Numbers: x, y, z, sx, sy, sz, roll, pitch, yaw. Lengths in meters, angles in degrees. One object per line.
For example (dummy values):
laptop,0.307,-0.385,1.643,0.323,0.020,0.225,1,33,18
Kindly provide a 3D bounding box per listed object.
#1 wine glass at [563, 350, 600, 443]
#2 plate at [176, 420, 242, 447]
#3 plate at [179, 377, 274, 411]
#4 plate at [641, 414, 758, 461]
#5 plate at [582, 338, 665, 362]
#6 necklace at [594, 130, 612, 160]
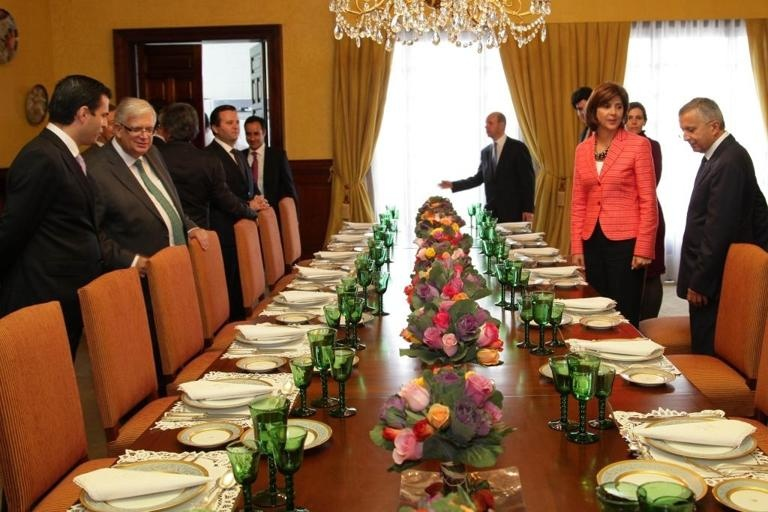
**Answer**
wine glass,0.652,0.452,1.986,0.105,0.278,0.194,1,12,13
plate,-0.584,0.605,2.020,0.217,0.033,0.146,-2,12,-4
plate,-0.573,0.509,2.191,0.209,0.025,0.216,1,4,-28
plate,1.000,0.578,1.926,0.388,0.073,0.200,-1,12,3
plate,1.003,0.394,2.499,0.166,0.028,0.150,-4,7,5
necklace,1.431,-0.733,3.943,0.121,0.185,0.078,5,8,18
